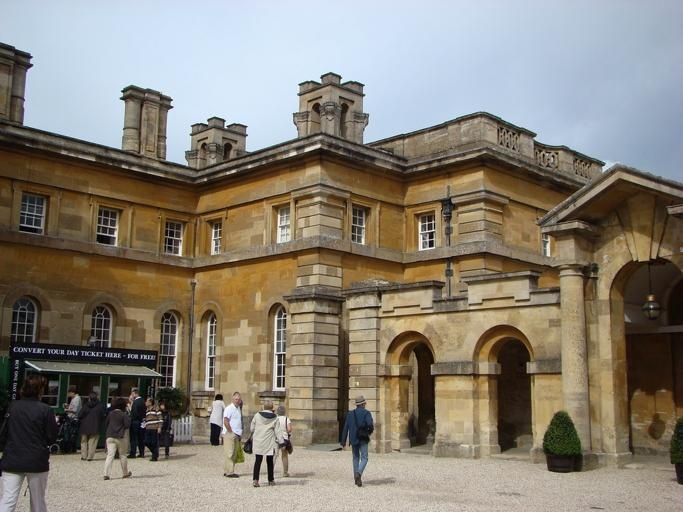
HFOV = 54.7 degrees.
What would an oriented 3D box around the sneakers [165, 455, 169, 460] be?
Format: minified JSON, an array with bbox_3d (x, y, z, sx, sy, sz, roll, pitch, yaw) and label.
[{"bbox_3d":[-5.262,6.089,20.006,0.114,0.115,0.120,1,-5,18],"label":"sneakers"}]

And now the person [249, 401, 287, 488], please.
[{"bbox_3d":[-1.687,4.298,15.144,0.792,1.834,1.598,3,-17,-5],"label":"person"}]

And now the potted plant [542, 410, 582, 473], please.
[{"bbox_3d":[5.666,4.752,16.956,0.926,1.528,0.561,-2,-17,10],"label":"potted plant"}]

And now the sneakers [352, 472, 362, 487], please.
[{"bbox_3d":[0.356,4.976,14.622,0.140,0.395,0.164,-7,4,2],"label":"sneakers"}]

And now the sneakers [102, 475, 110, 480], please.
[{"bbox_3d":[-5.501,5.187,15.460,0.079,0.097,0.143,-8,-35,12],"label":"sneakers"}]

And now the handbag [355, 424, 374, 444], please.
[{"bbox_3d":[0.531,3.984,14.823,0.347,0.379,0.204,12,-20,-33],"label":"handbag"}]

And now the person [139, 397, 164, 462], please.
[{"bbox_3d":[-5.705,5.214,19.895,0.586,1.791,1.464,6,-17,-15],"label":"person"}]

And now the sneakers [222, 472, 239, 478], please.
[{"bbox_3d":[-2.653,5.291,16.002,0.363,0.149,0.126,-7,-11,36],"label":"sneakers"}]

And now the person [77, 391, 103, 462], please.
[{"bbox_3d":[-7.243,4.906,19.083,0.621,1.908,1.156,7,-17,-19],"label":"person"}]

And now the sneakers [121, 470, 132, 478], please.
[{"bbox_3d":[-5.145,5.271,15.859,0.120,0.240,0.167,11,-20,36],"label":"sneakers"}]

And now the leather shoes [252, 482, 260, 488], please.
[{"bbox_3d":[-1.853,4.994,14.422,0.110,0.149,0.153,-2,-17,5],"label":"leather shoes"}]
